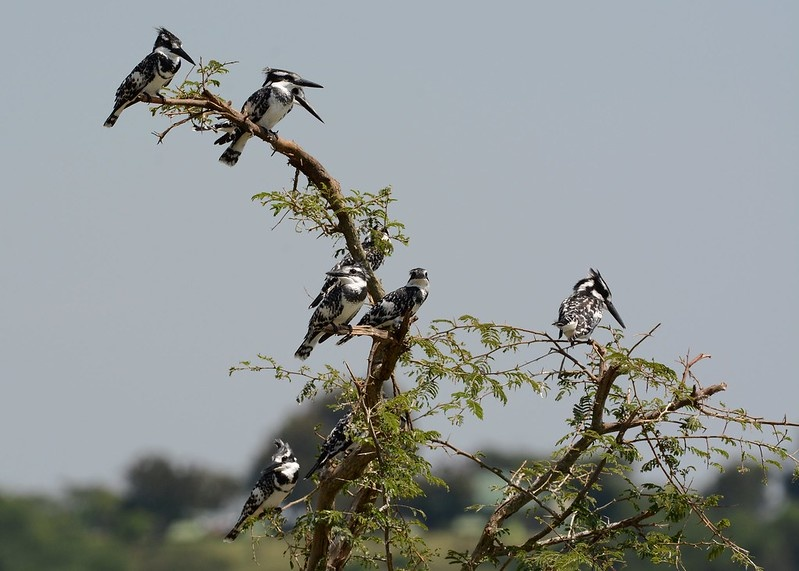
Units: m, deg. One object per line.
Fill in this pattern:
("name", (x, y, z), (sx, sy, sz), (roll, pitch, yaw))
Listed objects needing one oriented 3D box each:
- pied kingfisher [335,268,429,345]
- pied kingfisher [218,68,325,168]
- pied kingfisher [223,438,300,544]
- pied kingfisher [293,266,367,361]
("pied kingfisher", (-0.126, 0.193, 12.847), (1.032, 0.575, 0.330), (-13, -9, 21))
("pied kingfisher", (-1.338, -1.777, 13.749), (1.486, 0.725, 0.408), (-12, 0, 37))
("pied kingfisher", (-1.345, 1.950, 13.435), (0.352, 0.797, 1.170), (-10, -2, -41))
("pied kingfisher", (-0.647, 0.229, 12.955), (1.023, 0.688, 0.360), (-13, -13, 42))
